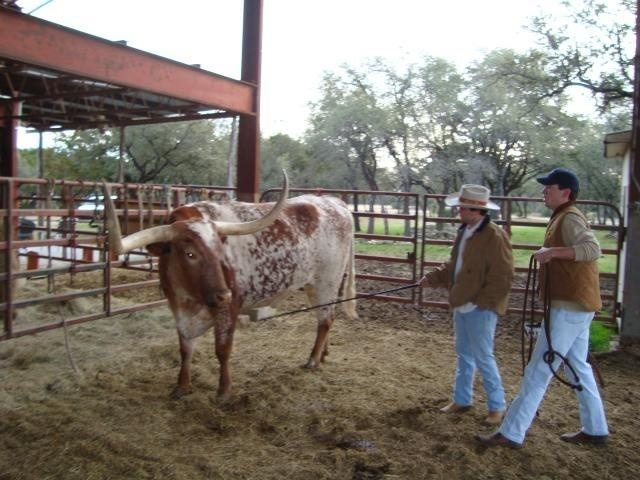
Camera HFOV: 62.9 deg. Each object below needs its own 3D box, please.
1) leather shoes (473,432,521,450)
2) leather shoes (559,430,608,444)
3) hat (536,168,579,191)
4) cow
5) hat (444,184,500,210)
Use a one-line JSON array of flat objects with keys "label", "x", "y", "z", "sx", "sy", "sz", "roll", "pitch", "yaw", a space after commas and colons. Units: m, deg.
[{"label": "leather shoes", "x": 1.652, "y": 1.870, "z": 4.968, "sx": 0.462, "sy": 0.127, "sz": 0.142, "roll": 4, "pitch": -10, "yaw": 17}, {"label": "leather shoes", "x": 2.527, "y": 1.887, "z": 5.081, "sx": 0.469, "sy": 0.127, "sz": 0.138, "roll": 2, "pitch": -7, "yaw": 18}, {"label": "hat", "x": 2.234, "y": -0.578, "z": 4.946, "sx": 0.393, "sy": 0.142, "sz": 0.222, "roll": 8, "pitch": 11, "yaw": 14}, {"label": "cow", "x": -0.793, "y": 0.407, "z": 6.146, "sx": 1.271, "sy": 2.499, "sz": 3.024, "roll": 11, "pitch": 17, "yaw": 30}, {"label": "hat", "x": 1.609, "y": -0.396, "z": 5.261, "sx": 0.424, "sy": 0.118, "sz": 0.365, "roll": 4, "pitch": 7, "yaw": -42}]
